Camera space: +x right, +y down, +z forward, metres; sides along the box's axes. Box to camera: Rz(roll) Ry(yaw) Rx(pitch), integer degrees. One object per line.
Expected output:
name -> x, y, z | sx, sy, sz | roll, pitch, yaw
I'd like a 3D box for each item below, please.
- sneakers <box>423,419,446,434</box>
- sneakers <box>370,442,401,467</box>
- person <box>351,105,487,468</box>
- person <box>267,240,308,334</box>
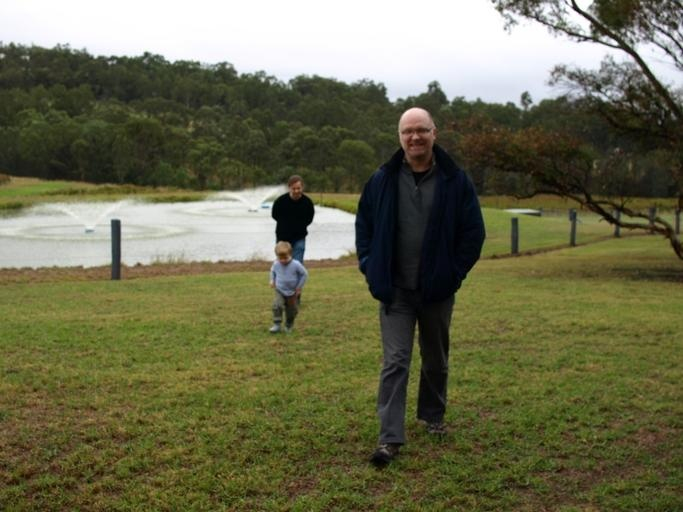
sneakers -> 0.944, 1.720, 7.395 | 0.242, 0.171, 0.083 | -7, -2, 9
sneakers -> 0.410, 1.861, 6.905 | 0.118, 0.161, 0.338 | -10, -20, 22
person -> 0.745, 0.229, 7.240 | 1.115, 3.323, 0.760 | -1, 6, -18
person -> -0.759, 0.405, 10.215 | 0.487, 1.246, 0.750 | 0, 5, -6
